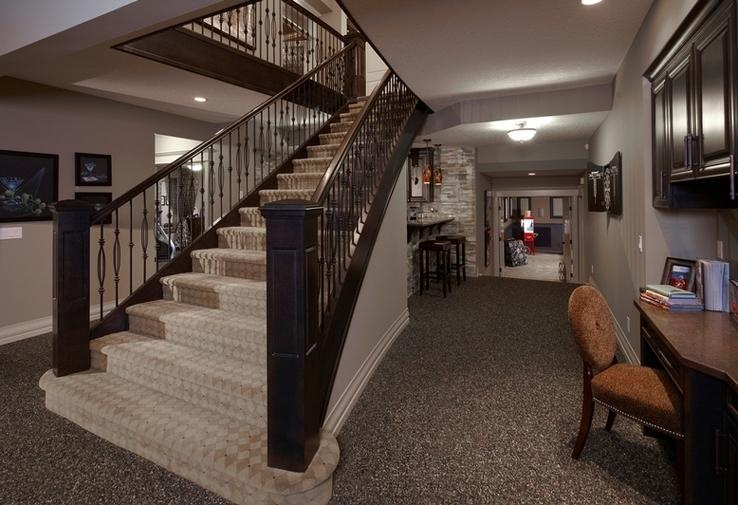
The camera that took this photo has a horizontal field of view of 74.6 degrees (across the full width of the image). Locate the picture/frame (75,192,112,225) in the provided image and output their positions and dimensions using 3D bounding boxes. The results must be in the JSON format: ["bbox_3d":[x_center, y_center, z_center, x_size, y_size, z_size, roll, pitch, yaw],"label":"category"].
[{"bbox_3d":[-3.209,-0.501,5.588,0.032,0.502,0.475,0,3,29],"label":"picture/frame"}]

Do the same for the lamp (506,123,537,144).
[{"bbox_3d":[2.368,-1.820,7.449,0.306,0.282,0.322,-1,2,-5],"label":"lamp"}]

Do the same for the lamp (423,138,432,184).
[{"bbox_3d":[1.184,-1.703,9.593,0.224,0.774,0.883,0,8,7],"label":"lamp"}]

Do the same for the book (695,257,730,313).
[{"bbox_3d":[2.986,0.306,4.193,0.138,0.373,0.375,2,10,34],"label":"book"}]

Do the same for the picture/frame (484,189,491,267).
[{"bbox_3d":[2.641,-0.492,10.740,0.095,1.714,0.679,2,7,20],"label":"picture/frame"}]

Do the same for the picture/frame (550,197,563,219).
[{"bbox_3d":[5.936,-1.385,15.334,0.314,0.624,0.132,3,7,27],"label":"picture/frame"}]

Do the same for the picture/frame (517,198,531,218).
[{"bbox_3d":[4.988,-1.409,15.579,0.559,0.845,0.082,2,-13,3],"label":"picture/frame"}]

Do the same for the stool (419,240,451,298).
[{"bbox_3d":[1.188,0.236,8.820,0.583,0.915,1.578,0,8,7],"label":"stool"}]

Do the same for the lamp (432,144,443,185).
[{"bbox_3d":[1.388,-1.729,9.722,0.194,0.785,0.634,0,7,8],"label":"lamp"}]
